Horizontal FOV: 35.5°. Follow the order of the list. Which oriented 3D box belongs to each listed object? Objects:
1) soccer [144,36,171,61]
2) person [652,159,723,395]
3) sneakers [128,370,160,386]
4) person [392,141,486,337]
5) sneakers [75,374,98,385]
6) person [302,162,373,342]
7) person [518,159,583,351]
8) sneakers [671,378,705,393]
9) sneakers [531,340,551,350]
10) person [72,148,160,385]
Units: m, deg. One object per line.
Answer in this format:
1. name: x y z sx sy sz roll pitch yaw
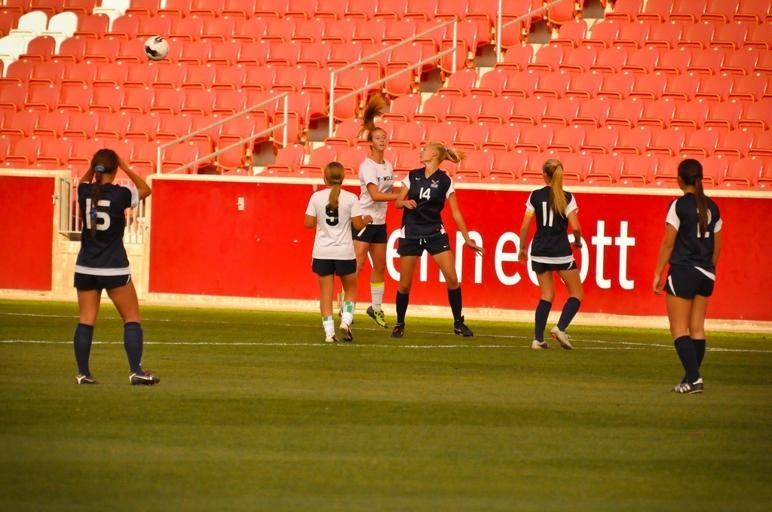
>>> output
1. soccer: -5.063 -4.659 26.859 0.579 0.560 0.574 3 23 -8
2. person: 3.521 0.262 14.169 0.673 2.718 0.693 5 13 17
3. sneakers: -2.803 1.458 14.036 0.370 0.196 0.142 0 45 -9
4. person: 0.651 -0.175 17.429 1.081 2.899 0.621 1 12 0
5. sneakers: -3.492 1.461 14.048 0.260 0.108 0.092 4 32 -12
6. person: -0.722 -0.027 16.726 0.769 2.524 0.364 0 12 -4
7. person: 2.302 0.030 16.622 0.755 2.674 0.898 -2 13 -15
8. sneakers: 3.555 1.538 14.209 0.366 0.151 0.152 0 2 11
9. sneakers: 2.158 1.233 16.722 0.109 0.093 0.226 5 7 35
10. person: -3.184 0.141 14.044 0.953 2.745 0.748 0 12 -3
